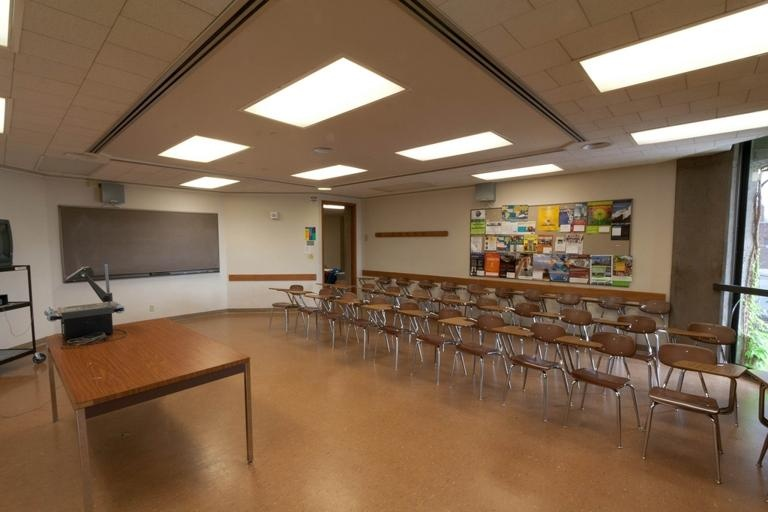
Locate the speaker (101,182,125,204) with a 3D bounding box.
[{"bbox_3d":[-5.462,-1.266,9.291,0.241,0.414,0.451,4,3,35],"label":"speaker"}]

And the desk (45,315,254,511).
[{"bbox_3d":[-2.781,1.258,5.554,1.748,1.143,2.585,-4,8,-37],"label":"desk"}]

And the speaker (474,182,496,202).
[{"bbox_3d":[2.156,-1.366,9.852,0.215,0.382,0.417,3,-4,-38],"label":"speaker"}]
